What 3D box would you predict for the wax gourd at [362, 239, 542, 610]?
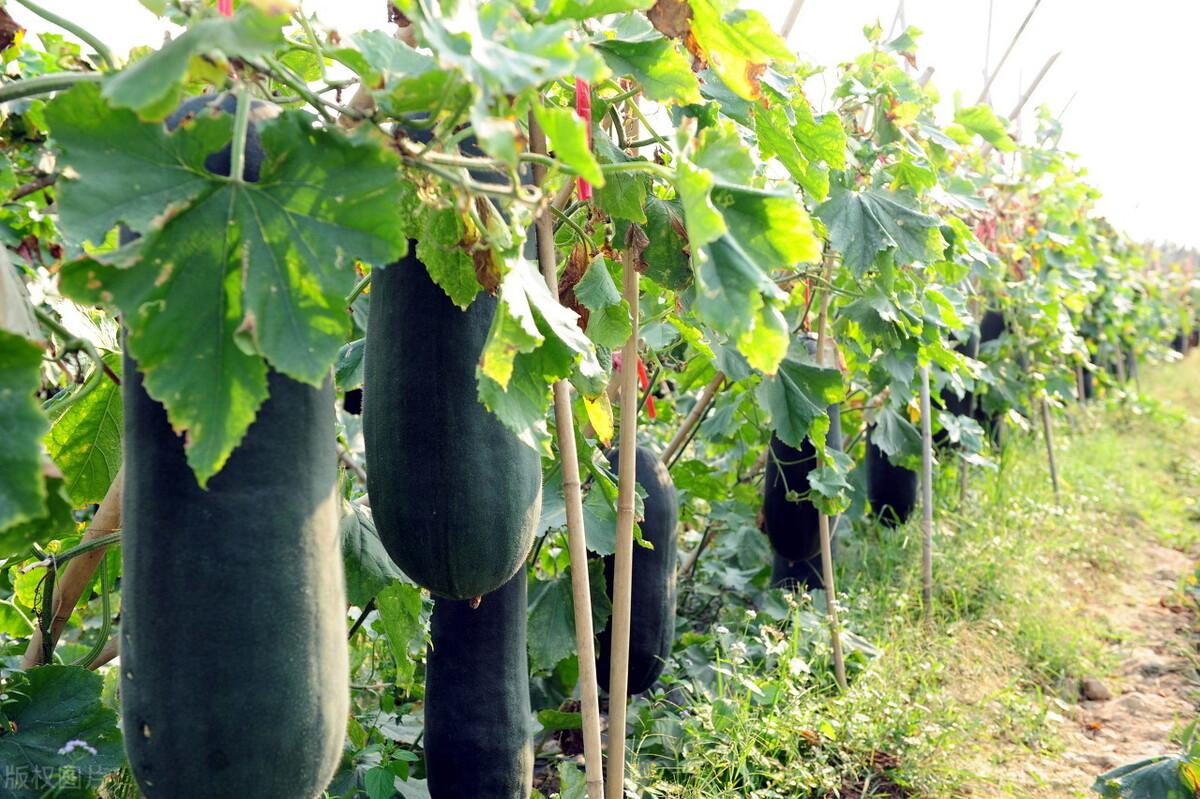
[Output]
[{"bbox_3d":[-0.367,0.069,2.930,0.371,0.894,0.373,-5,3,25],"label":"wax gourd"}]
